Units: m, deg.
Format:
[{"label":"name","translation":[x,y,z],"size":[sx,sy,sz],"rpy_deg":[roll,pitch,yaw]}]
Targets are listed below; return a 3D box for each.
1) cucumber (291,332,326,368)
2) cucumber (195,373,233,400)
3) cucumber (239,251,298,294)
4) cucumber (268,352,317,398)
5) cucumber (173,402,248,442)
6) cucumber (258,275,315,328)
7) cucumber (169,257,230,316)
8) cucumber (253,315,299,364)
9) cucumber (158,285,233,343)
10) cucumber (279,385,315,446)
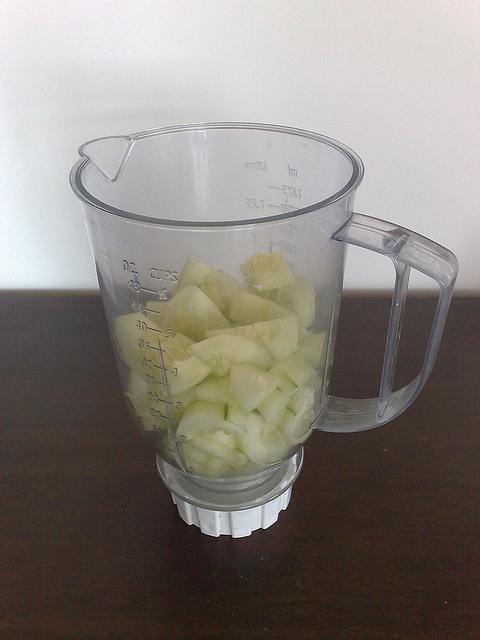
[{"label":"cucumber","translation":[0.063,0.025,0.597],"size":[0.038,0.028,0.027],"rpy_deg":[-2,23,-2]},{"label":"cucumber","translation":[-0.025,0.054,0.552],"size":[0.033,0.020,0.010],"rpy_deg":[1,6,11]},{"label":"cucumber","translation":[0.023,-0.043,0.569],"size":[0.051,0.015,0.038],"rpy_deg":[-11,44,16]},{"label":"cucumber","translation":[0.044,0.049,0.571],"size":[0.042,0.032,0.014],"rpy_deg":[-44,14,-16]},{"label":"cucumber","translation":[-0.033,0.080,0.560],"size":[0.068,0.032,0.019],"rpy_deg":[-8,1,10]},{"label":"cucumber","translation":[0.041,-0.017,0.573],"size":[0.047,0.044,0.015],"rpy_deg":[2,4,-36]},{"label":"cucumber","translation":[-0.024,-0.030,0.569],"size":[0.022,0.033,0.043],"rpy_deg":[-8,54,17]},{"label":"cucumber","translation":[0.033,0.013,0.554],"size":[0.045,0.037,0.014],"rpy_deg":[5,3,-39]},{"label":"cucumber","translation":[-0.034,-0.004,0.546],"size":[0.055,0.051,0.021],"rpy_deg":[11,23,0]},{"label":"cucumber","translation":[0.045,0.091,0.616],"size":[0.024,0.055,0.043],"rpy_deg":[16,37,5]}]
